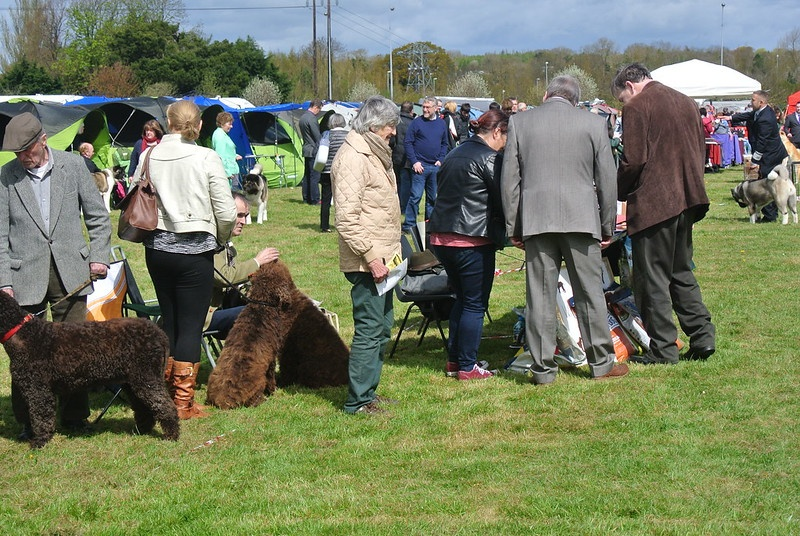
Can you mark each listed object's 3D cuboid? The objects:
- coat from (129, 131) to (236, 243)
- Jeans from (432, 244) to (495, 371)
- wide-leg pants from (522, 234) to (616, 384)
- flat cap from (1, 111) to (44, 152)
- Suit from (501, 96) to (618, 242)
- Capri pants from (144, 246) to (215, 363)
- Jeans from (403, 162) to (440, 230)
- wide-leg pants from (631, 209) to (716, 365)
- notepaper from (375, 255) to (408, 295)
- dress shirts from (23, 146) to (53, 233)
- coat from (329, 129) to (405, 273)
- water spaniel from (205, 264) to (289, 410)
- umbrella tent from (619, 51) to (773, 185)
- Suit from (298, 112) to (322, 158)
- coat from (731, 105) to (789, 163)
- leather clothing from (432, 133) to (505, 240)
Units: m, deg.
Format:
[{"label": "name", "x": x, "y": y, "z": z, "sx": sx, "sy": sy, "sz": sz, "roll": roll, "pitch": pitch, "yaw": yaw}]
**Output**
[{"label": "coat", "x": -2.266, "y": -0.803, "z": 10.581, "sx": 1.131, "sy": 1.129, "sz": 0.658, "roll": 1, "pitch": 2, "yaw": 9}, {"label": "Jeans", "x": 0.711, "y": 0.301, "z": 11.321, "sx": 0.525, "sy": 1.665, "sz": 0.689, "roll": -3, "pitch": 8, "yaw": -17}, {"label": "wide-leg pants", "x": 1.773, "y": 0.279, "z": 11.011, "sx": 0.884, "sy": 1.963, "sz": 0.468, "roll": -5, "pitch": 18, "yaw": 12}, {"label": "flat cap", "x": -3.651, "y": -1.313, "z": 9.972, "sx": 0.282, "sy": 0.220, "sz": 0.421, "roll": 13, "pitch": 42, "yaw": 15}, {"label": "Suit", "x": 1.642, "y": -0.991, "z": 10.822, "sx": 1.366, "sy": 1.808, "sz": 0.665, "roll": 0, "pitch": 4, "yaw": 8}, {"label": "Capri pants", "x": -2.243, "y": 0.433, "z": 10.532, "sx": 0.662, "sy": 1.560, "sz": 0.516, "roll": -1, "pitch": 2, "yaw": 19}, {"label": "Jeans", "x": 0.406, "y": -1.297, "z": 17.645, "sx": 0.364, "sy": 1.278, "sz": 0.292, "roll": 5, "pitch": 42, "yaw": -5}, {"label": "wide-leg pants", "x": 2.947, "y": 0.072, "z": 11.302, "sx": 0.725, "sy": 1.794, "sz": 0.513, "roll": -21, "pitch": 14, "yaw": -24}, {"label": "notepaper", "x": -0.103, "y": 0.067, "z": 10.485, "sx": 0.375, "sy": 0.266, "sz": 0.114, "roll": -37, "pitch": 27, "yaw": -13}, {"label": "dress shirts", "x": -3.538, "y": -0.713, "z": 10.131, "sx": 0.271, "sy": 0.631, "sz": 0.122, "roll": -3, "pitch": 2, "yaw": 14}, {"label": "coat", "x": -0.352, "y": -0.677, "z": 10.440, "sx": 0.676, "sy": 1.432, "sz": 0.446, "roll": -3, "pitch": 9, "yaw": -5}, {"label": "water spaniel", "x": -1.632, "y": 0.880, "z": 11.215, "sx": 0.590, "sy": 0.963, "sz": 2.029, "roll": 12, "pitch": 36, "yaw": 3}, {"label": "umbrella tent", "x": 8.257, "y": -3.507, "z": 29.863, "sx": 4.335, "sy": 4.656, "sz": 5.095, "roll": 1, "pitch": 14, "yaw": 14}, {"label": "Suit", "x": -1.828, "y": -2.737, "z": 20.815, "sx": 0.401, "sy": 0.907, "sz": 0.592, "roll": 2, "pitch": 6, "yaw": -34}, {"label": "coat", "x": 6.646, "y": -2.647, "z": 19.392, "sx": 0.947, "sy": 1.585, "sz": 0.696, "roll": -8, "pitch": 16, "yaw": 15}, {"label": "leather clothing", "x": 0.712, "y": -0.809, "z": 11.053, "sx": 0.791, "sy": 1.195, "sz": 0.447, "roll": -1, "pitch": 9, "yaw": 2}]
